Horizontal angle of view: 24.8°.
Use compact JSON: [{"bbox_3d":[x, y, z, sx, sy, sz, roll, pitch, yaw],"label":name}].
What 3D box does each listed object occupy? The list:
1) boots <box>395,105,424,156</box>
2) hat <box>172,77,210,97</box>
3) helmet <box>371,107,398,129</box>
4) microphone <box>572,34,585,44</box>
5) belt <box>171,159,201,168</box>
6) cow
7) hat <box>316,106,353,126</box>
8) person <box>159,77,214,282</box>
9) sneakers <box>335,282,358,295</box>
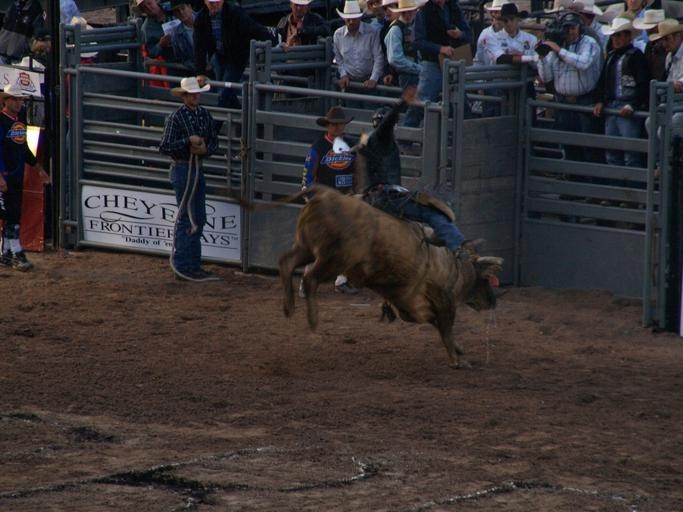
[{"bbox_3d":[0.955,-1.712,20.923,0.290,0.387,1.210,3,-18,-6],"label":"boots"},{"bbox_3d":[-1.796,-2.156,19.631,0.387,0.144,0.353,-9,9,-39],"label":"hat"},{"bbox_3d":[0.500,-1.550,17.153,0.309,0.278,0.231,2,-2,-20],"label":"helmet"},{"bbox_3d":[3.074,-2.848,20.215,0.156,0.134,0.083,1,3,1],"label":"microphone"},{"bbox_3d":[-1.943,-1.202,19.841,0.375,0.136,0.202,0,4,-16],"label":"belt"},{"bbox_3d":[0.428,0.250,16.746,2.613,2.007,0.573,-1,4,-35],"label":"cow"},{"bbox_3d":[-0.062,-1.764,19.523,0.464,0.217,0.538,-1,-4,-2],"label":"hat"},{"bbox_3d":[-1.926,-0.972,19.877,0.656,2.583,0.712,2,3,8],"label":"person"},{"bbox_3d":[0.071,0.421,19.758,0.282,0.126,0.127,8,40,-2],"label":"sneakers"}]
